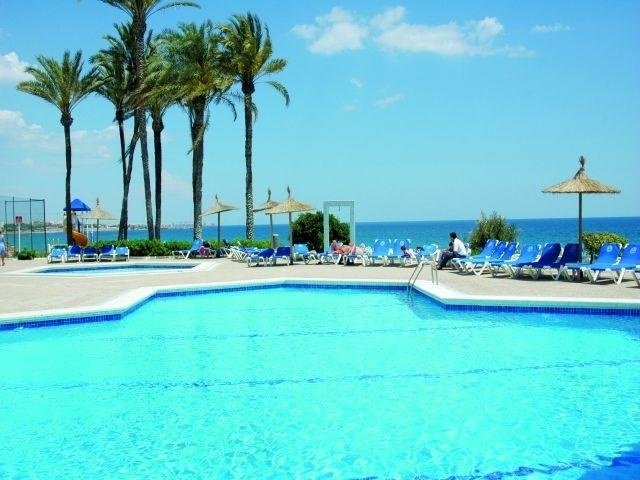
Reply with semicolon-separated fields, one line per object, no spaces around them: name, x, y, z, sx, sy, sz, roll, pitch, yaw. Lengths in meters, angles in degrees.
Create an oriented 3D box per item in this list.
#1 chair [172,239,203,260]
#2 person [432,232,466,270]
chair;-5.855;0.423;28.353;0.734;0.980;1.362;-1;-5;40
person;4.283;0.324;20.638;0.831;1.270;0.582;11;22;10
